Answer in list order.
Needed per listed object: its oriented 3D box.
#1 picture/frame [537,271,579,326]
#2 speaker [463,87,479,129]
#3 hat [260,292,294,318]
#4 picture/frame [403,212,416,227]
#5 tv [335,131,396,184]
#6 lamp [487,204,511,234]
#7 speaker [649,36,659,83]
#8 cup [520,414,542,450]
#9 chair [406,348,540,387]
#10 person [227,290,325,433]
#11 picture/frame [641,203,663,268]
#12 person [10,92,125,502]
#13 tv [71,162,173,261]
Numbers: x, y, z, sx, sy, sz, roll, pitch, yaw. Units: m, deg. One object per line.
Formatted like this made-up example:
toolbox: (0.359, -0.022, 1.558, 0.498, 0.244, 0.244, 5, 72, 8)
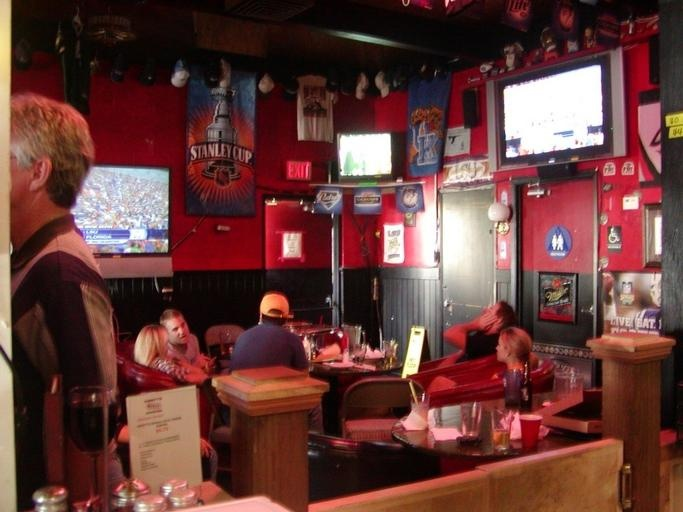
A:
picture/frame: (2.474, 0.494, 7.036, 0.058, 0.512, 0.551, -2, -6, -25)
speaker: (1.659, -1.896, 7.967, 0.103, 0.482, 0.251, -1, -3, -37)
hat: (-0.498, 0.382, 4.765, 0.160, 0.251, 0.235, 4, 13, 4)
picture/frame: (0.990, -0.524, 9.009, 0.017, 0.195, 0.180, -4, 4, -32)
tv: (0.350, -1.385, 8.759, 0.673, 0.548, 0.094, 0, 3, -6)
lamp: (1.905, -0.443, 7.630, 0.213, 0.395, 0.338, -2, -3, -28)
speaker: (3.051, -1.920, 6.050, 0.066, 0.396, 0.122, -2, -3, -12)
cup: (0.965, 0.906, 3.169, 0.130, 0.150, 0.137, 1, -3, 0)
chair: (0.993, 1.010, 5.455, 0.740, 0.369, 0.567, 1, -8, -12)
person: (-0.532, 0.826, 4.877, 0.679, 1.076, 0.749, 1, 4, -17)
picture/frame: (3.073, -0.196, 6.155, 0.064, 0.499, 0.166, -1, -3, -30)
person: (-1.141, 0.139, 2.536, 0.406, 1.738, 0.827, -2, -3, -21)
tv: (-2.556, -0.497, 7.463, 1.233, 1.005, 0.070, 1, -1, 24)
